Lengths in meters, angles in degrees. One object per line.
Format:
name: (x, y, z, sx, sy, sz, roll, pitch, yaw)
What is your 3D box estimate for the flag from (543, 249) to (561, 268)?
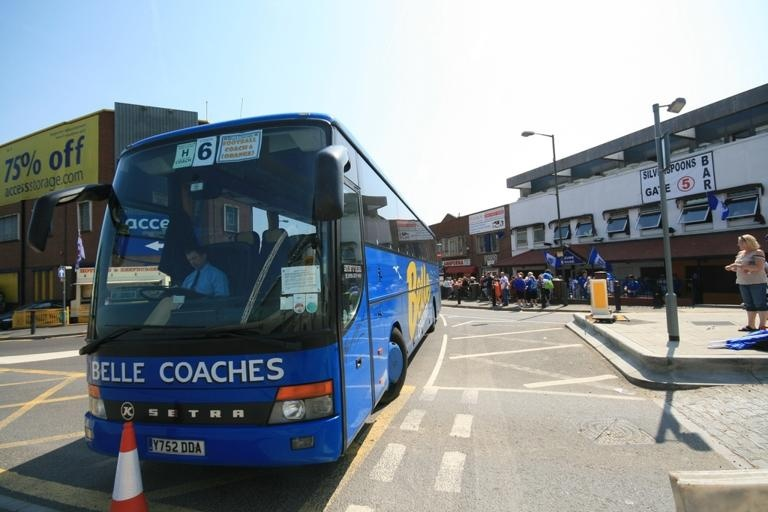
flag: (9.890, 0.145, 32.901, 0.353, 0.938, 1.199, -1, -2, -20)

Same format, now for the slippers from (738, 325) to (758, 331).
slippers: (8.699, 1.712, 13.340, 0.341, 0.135, 0.127, 4, -7, -8)

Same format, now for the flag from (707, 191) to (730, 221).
flag: (16.562, -2.440, 27.699, 1.326, 1.052, 0.386, 13, -9, -36)

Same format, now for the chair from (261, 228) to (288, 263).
chair: (-1.650, -0.164, 8.547, 0.319, 0.458, 0.437, -3, 9, 8)

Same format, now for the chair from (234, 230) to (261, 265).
chair: (-2.069, -0.109, 8.575, 0.381, 0.581, 0.310, -12, -1, 30)

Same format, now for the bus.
bus: (-2.022, 0.596, 9.125, 5.819, 5.597, 3.599, -10, 15, -30)

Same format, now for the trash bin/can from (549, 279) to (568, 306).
trash bin/can: (9.035, 1.860, 29.044, 1.062, 1.493, 1.105, -1, -5, 0)
